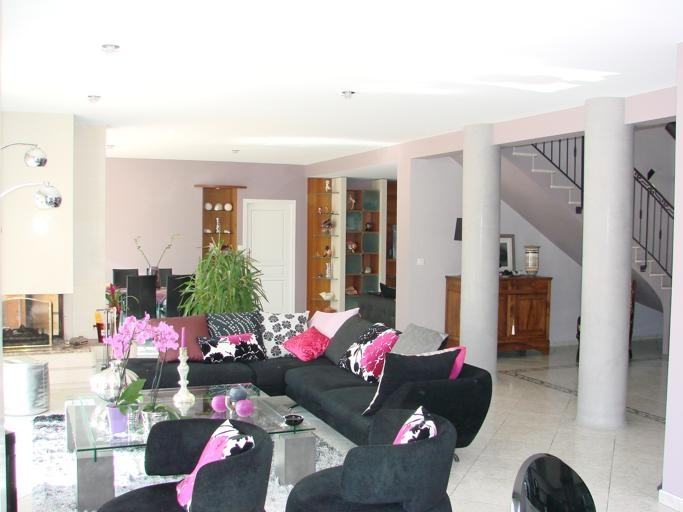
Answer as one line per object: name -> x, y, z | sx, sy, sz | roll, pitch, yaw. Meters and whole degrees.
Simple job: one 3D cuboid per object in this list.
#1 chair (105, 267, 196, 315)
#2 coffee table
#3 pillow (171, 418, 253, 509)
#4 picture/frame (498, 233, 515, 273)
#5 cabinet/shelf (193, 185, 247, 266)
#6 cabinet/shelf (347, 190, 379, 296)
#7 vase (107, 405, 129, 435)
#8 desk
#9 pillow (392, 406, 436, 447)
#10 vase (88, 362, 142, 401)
chair -> -2.877, 0.550, 8.375 | 0.717, 0.700, 0.488 | -2, 14, -21
coffee table -> -1.107, 1.360, 4.056 | 1.206, 0.316, 1.150 | -2, 6, -23
pillow -> -0.696, 1.173, 3.066 | 0.392, 0.445, 0.452 | -1, 6, -20
picture/frame -> 2.677, -0.019, 9.226 | 0.047, 0.677, 0.529 | 0, 0, -29
cabinet/shelf -> -2.384, -0.719, 10.968 | 0.869, 1.373, 0.466 | 0, 6, -10
cabinet/shelf -> 0.435, -0.297, 11.546 | 0.700, 2.166, 0.379 | 1, 6, 0
vase -> -1.633, 1.201, 4.078 | 0.141, 0.164, 0.143 | 0, 1, -35
desk -> 2.501, 0.816, 8.660 | 1.434, 1.278, 0.805 | -3, 16, 2
pillow -> 0.419, 1.017, 3.251 | 0.214, 0.069, 0.228 | -40, 10, 33
vase -> -1.761, 0.919, 4.354 | 0.350, 0.297, 0.339 | 2, -1, -5
